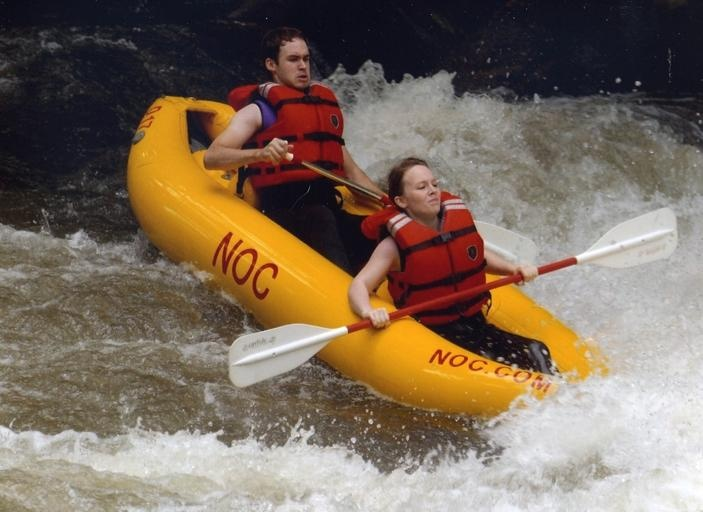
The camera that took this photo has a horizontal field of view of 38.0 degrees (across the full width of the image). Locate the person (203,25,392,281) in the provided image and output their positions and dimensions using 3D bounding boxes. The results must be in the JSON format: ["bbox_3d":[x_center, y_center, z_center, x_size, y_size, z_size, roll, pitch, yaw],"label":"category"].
[{"bbox_3d":[-0.280,-0.440,5.800,1.051,0.978,1.643,-6,97,-3],"label":"person"}]

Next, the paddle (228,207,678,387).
[{"bbox_3d":[0.466,0.240,5.332,2.397,0.190,0.320,-17,67,-3],"label":"paddle"}]

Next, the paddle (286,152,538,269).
[{"bbox_3d":[0.334,-0.235,5.694,1.443,0.152,0.203,25,80,7],"label":"paddle"}]

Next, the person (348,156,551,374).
[{"bbox_3d":[0.401,0.011,5.210,0.929,0.628,1.188,-25,40,-33],"label":"person"}]

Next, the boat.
[{"bbox_3d":[-0.243,0.028,5.605,2.768,1.283,0.642,34,116,17],"label":"boat"}]
